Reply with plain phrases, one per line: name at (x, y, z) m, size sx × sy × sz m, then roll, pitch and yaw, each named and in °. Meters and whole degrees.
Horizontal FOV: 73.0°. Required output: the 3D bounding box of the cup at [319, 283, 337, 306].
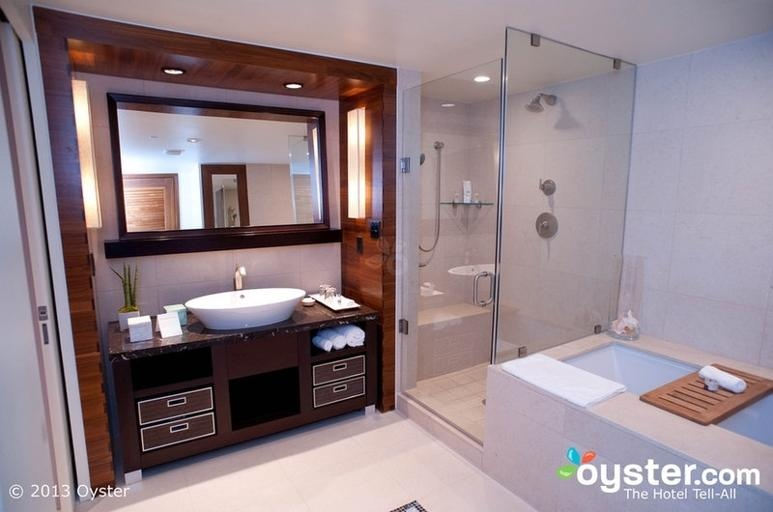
cup at (-0.486, 0.342, 4.525) m, size 0.179 × 0.241 × 0.140 m, roll 0°, pitch -3°, yaw 7°

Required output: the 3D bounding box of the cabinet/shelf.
cabinet/shelf at (-0.998, 1.080, 4.256) m, size 2.091 × 0.865 × 0.590 m, roll -7°, pitch -6°, yaw -20°

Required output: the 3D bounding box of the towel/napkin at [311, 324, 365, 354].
towel/napkin at (-0.390, 0.670, 4.315) m, size 0.270 × 0.096 × 0.267 m, roll -8°, pitch 10°, yaw -40°

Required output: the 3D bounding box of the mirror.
mirror at (-1.444, -0.762, 4.242) m, size 1.283 × 0.764 × 0.034 m, roll -3°, pitch 11°, yaw -25°

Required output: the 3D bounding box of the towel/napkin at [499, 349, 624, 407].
towel/napkin at (1.171, 0.835, 3.552) m, size 0.377 × 0.050 × 0.454 m, roll -8°, pitch 16°, yaw -32°

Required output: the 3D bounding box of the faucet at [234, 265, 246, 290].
faucet at (-1.224, 0.185, 4.341) m, size 0.111 × 0.209 × 0.209 m, roll -7°, pitch 10°, yaw -17°

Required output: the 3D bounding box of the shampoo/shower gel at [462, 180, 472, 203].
shampoo/shower gel at (0.614, -0.494, 4.007) m, size 0.021 × 0.167 × 0.079 m, roll -12°, pitch 12°, yaw -36°

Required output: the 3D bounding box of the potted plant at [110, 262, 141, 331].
potted plant at (-1.976, 0.304, 3.980) m, size 0.191 × 0.475 × 0.267 m, roll -8°, pitch 11°, yaw -23°
